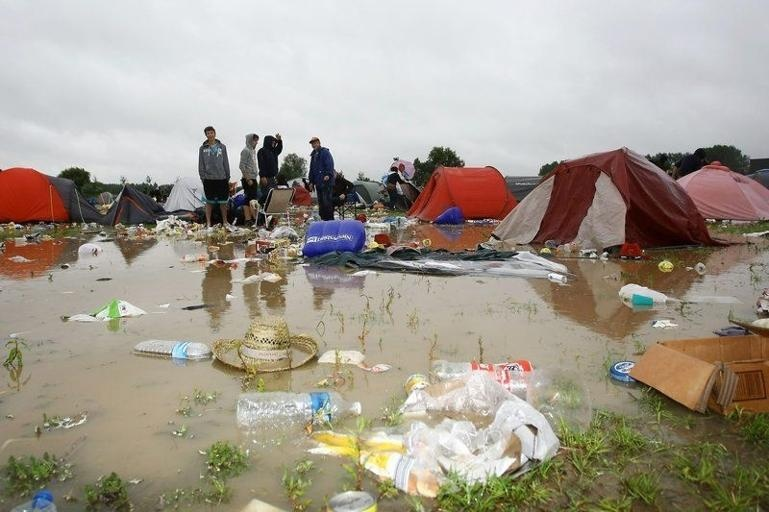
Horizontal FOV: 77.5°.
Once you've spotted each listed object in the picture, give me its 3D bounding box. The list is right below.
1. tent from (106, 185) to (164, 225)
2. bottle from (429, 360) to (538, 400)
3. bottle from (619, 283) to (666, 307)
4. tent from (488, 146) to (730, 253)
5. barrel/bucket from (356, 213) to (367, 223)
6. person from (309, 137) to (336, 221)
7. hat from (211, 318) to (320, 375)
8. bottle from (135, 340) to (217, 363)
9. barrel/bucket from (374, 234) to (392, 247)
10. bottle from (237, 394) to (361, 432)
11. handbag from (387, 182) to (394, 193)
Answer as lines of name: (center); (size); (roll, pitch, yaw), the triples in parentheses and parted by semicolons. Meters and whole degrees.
tent: (-8.766, -1.680, 16.856); (1.511, 0.883, 1.988); (1, 7, -13)
bottle: (0.790, 0.935, 3.830); (0.786, 0.174, 0.379); (4, 6, 21)
bottle: (3.127, 0.428, 5.836); (0.301, 0.169, 0.390); (-3, 6, -23)
tent: (4.583, -1.201, 10.163); (3.819, 2.095, 2.138); (5, 7, 33)
barrel/bucket: (-0.780, -1.298, 16.005); (0.707, 0.294, 0.763); (0, 7, 0)
person: (-1.727, -2.108, 13.212); (0.627, 2.170, 1.016); (-2, 7, -25)
hat: (-1.006, 0.826, 4.262); (0.614, 0.204, 0.578); (8, 12, 34)
bottle: (-1.906, 0.845, 4.295); (0.514, 0.082, 0.275); (4, 1, 7)
barrel/bucket: (-0.041, -0.333, 9.902); (0.250, 0.216, 0.430); (-5, 10, -4)
bottle: (-0.616, 1.100, 3.473); (0.896, 0.198, 0.284); (1, 6, -6)
handbag: (0.269, -3.474, 24.148); (0.599, 0.459, 0.338); (7, 9, 44)
